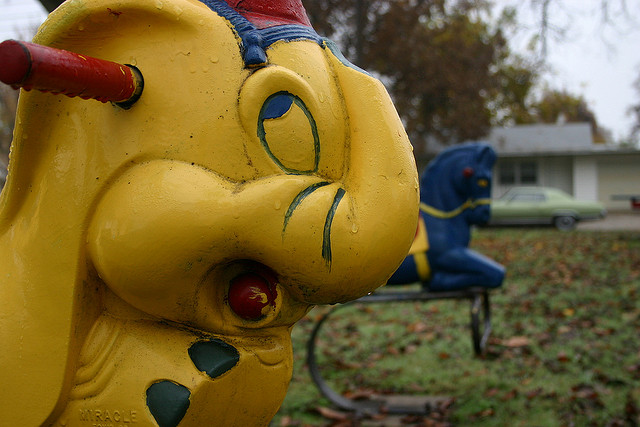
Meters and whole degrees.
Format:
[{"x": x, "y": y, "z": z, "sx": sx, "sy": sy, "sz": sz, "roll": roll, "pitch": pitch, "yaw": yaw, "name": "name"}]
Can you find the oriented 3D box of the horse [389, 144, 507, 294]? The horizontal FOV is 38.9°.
[{"x": 0.680, "y": 0.007, "z": 5.405, "sx": 1.095, "sy": 0.854, "sz": 0.396, "roll": 2, "pitch": 5, "yaw": 33, "name": "horse"}]
